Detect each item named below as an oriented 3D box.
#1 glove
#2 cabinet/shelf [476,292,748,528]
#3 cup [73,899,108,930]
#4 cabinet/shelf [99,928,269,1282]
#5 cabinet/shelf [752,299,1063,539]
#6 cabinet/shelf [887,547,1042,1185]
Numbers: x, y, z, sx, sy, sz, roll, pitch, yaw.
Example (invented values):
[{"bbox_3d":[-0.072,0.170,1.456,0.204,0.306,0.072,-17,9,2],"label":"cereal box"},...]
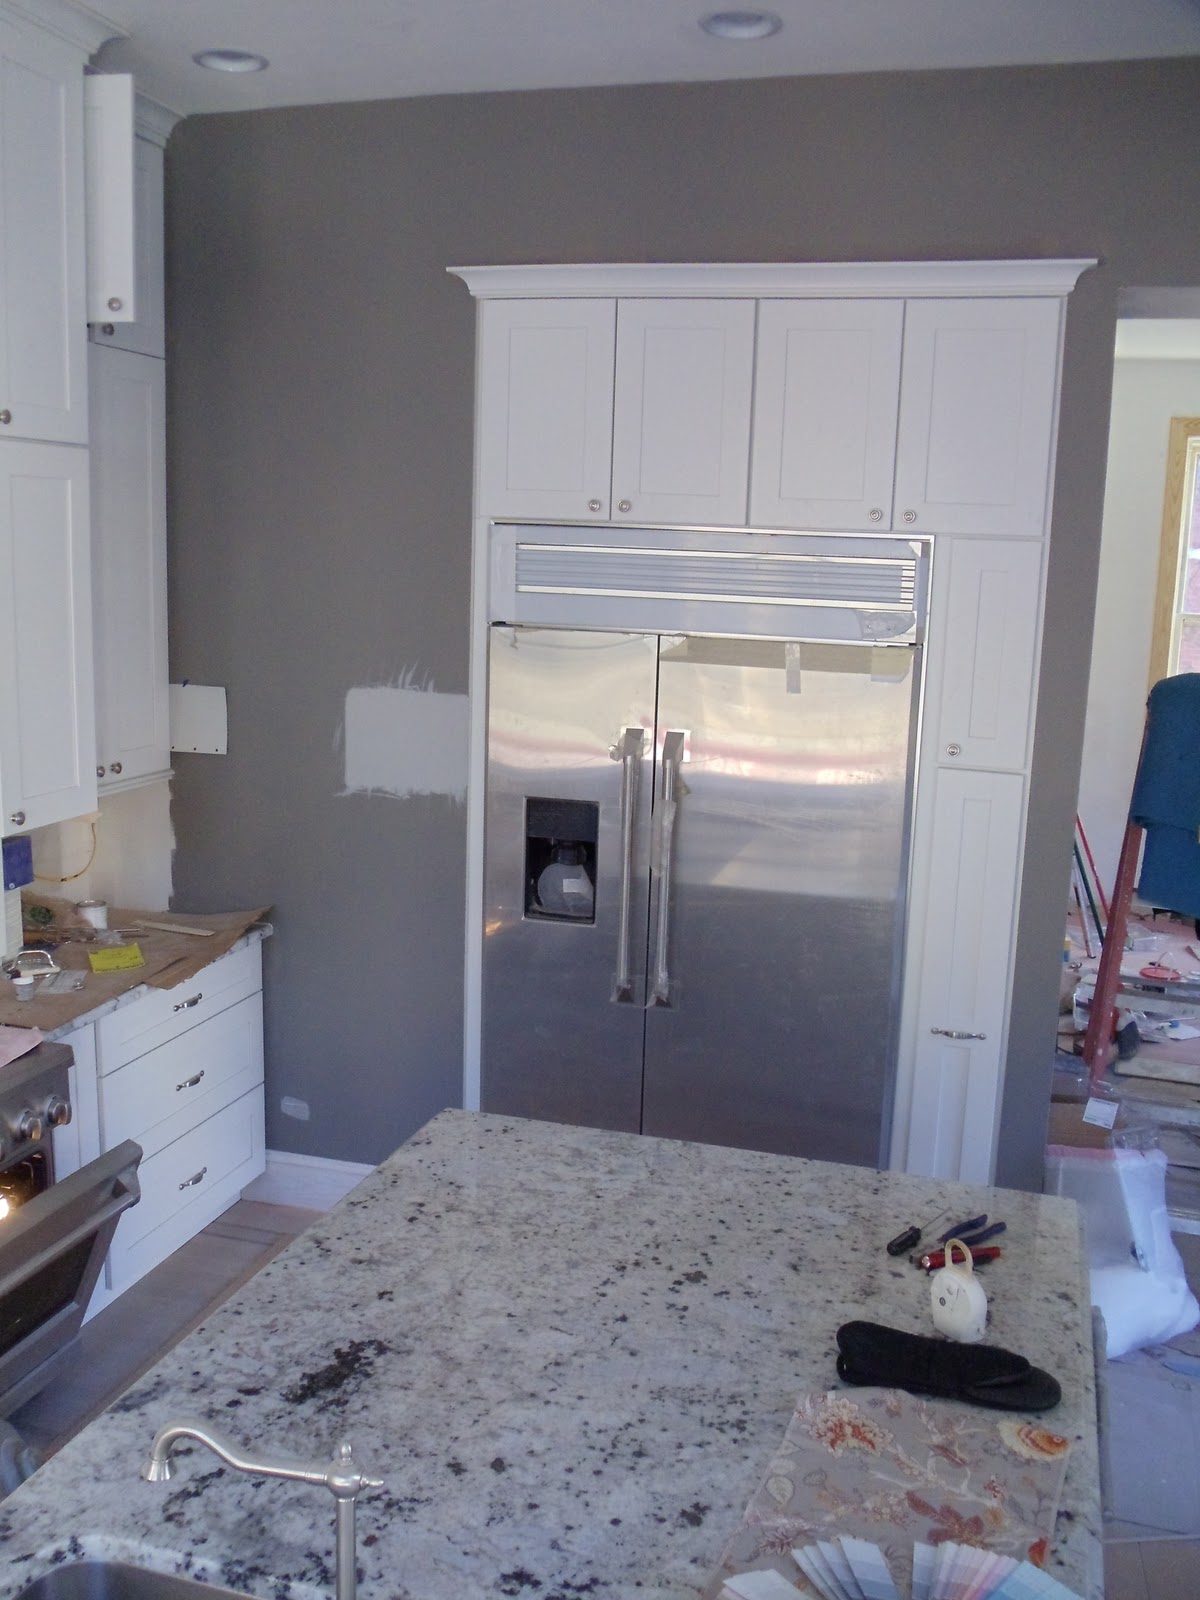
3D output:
[{"bbox_3d":[0.390,0.639,1.505,0.140,0.034,0.086,2,5,12],"label":"glove"},{"bbox_3d":[0.111,-1.020,3.512,0.898,0.631,0.336,-6,22,-28],"label":"cabinet/shelf"},{"bbox_3d":[-1.345,0.299,3.524,0.074,0.063,0.072,0,11,0],"label":"cup"},{"bbox_3d":[-0.972,0.807,3.545,0.825,0.738,0.302,-32,-34,33],"label":"cabinet/shelf"},{"bbox_3d":[0.714,-0.913,3.263,0.736,0.567,0.262,3,0,4],"label":"cabinet/shelf"},{"bbox_3d":[0.888,0.168,3.246,0.323,1.588,0.080,1,10,14],"label":"cabinet/shelf"}]
